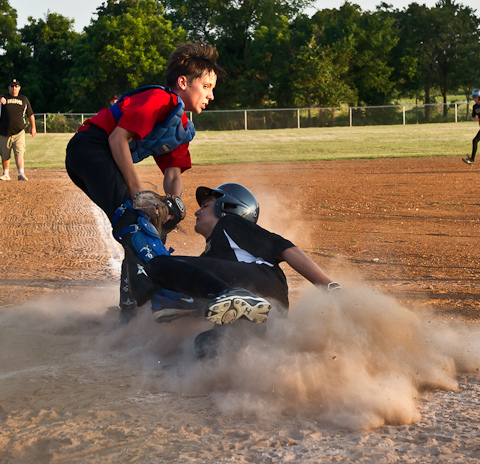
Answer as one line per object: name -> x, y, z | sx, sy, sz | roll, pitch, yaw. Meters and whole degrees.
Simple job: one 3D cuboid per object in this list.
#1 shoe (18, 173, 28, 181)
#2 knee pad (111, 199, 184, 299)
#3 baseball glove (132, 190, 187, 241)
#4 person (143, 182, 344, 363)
shoe -> -3.794, -0.985, 11.976 | 0.140, 0.135, 0.293 | -2, 11, -17
knee pad -> -0.504, 0.081, 3.871 | 0.586, 0.188, 0.346 | 49, 7, 29
baseball glove -> -0.468, -0.147, 4.106 | 0.347, 0.288, 0.239 | 27, 13, -8
person -> -0.058, 0.209, 3.855 | 0.867, 0.877, 1.143 | -5, 13, -31
